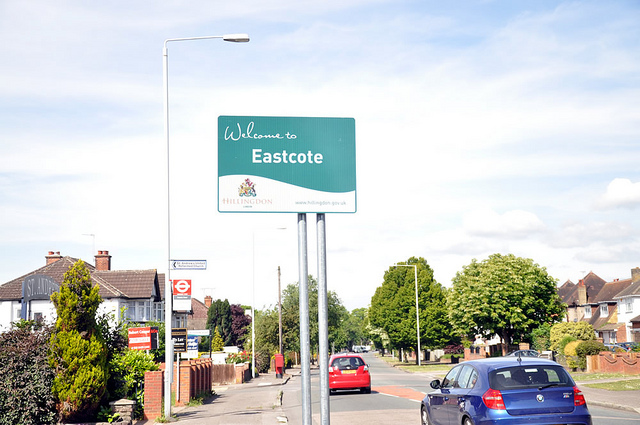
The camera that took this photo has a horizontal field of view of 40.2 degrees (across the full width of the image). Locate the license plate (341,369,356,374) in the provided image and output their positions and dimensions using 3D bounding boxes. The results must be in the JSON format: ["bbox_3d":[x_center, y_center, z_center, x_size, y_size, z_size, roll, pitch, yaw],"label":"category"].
[{"bbox_3d":[1.478,8.371,46.346,0.769,0.209,0.167,-3,-11,0],"label":"license plate"}]

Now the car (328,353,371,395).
[{"bbox_3d":[1.396,8.760,47.988,1.968,1.711,3.511,0,-6,-1],"label":"car"}]
